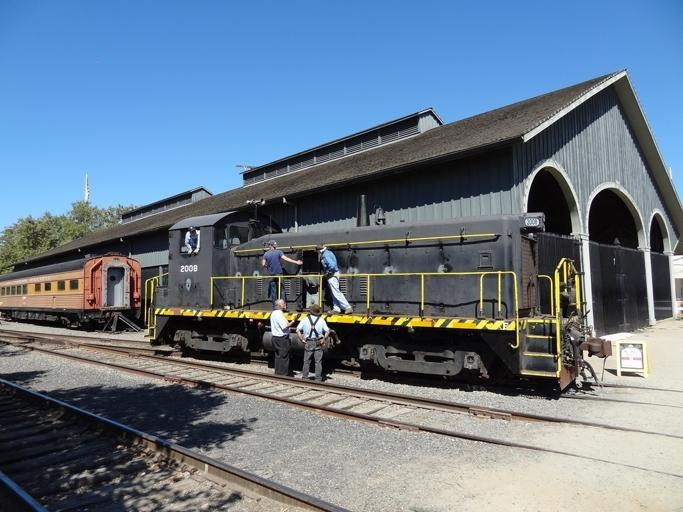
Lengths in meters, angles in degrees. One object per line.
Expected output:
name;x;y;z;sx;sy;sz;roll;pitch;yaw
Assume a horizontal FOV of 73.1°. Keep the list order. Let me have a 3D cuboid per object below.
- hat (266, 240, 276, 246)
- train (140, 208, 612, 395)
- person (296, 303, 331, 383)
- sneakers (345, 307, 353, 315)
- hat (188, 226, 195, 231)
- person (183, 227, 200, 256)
hat;-1.821;-0.326;12.048;0.196;0.206;0.213;3;-20;-12
train;-0.046;0.815;12.445;12.541;4.276;3.189;-1;1;29
person;-0.639;1.995;10.678;0.772;1.718;0.775;-1;1;2
sneakers;0.186;1.303;10.904;0.258;0.143;0.186;4;-9;0
hat;-4.370;-0.798;13.426;0.109;0.144;0.137;2;-30;4
person;-4.335;-0.395;13.451;0.597;0.757;0.331;0;3;25
